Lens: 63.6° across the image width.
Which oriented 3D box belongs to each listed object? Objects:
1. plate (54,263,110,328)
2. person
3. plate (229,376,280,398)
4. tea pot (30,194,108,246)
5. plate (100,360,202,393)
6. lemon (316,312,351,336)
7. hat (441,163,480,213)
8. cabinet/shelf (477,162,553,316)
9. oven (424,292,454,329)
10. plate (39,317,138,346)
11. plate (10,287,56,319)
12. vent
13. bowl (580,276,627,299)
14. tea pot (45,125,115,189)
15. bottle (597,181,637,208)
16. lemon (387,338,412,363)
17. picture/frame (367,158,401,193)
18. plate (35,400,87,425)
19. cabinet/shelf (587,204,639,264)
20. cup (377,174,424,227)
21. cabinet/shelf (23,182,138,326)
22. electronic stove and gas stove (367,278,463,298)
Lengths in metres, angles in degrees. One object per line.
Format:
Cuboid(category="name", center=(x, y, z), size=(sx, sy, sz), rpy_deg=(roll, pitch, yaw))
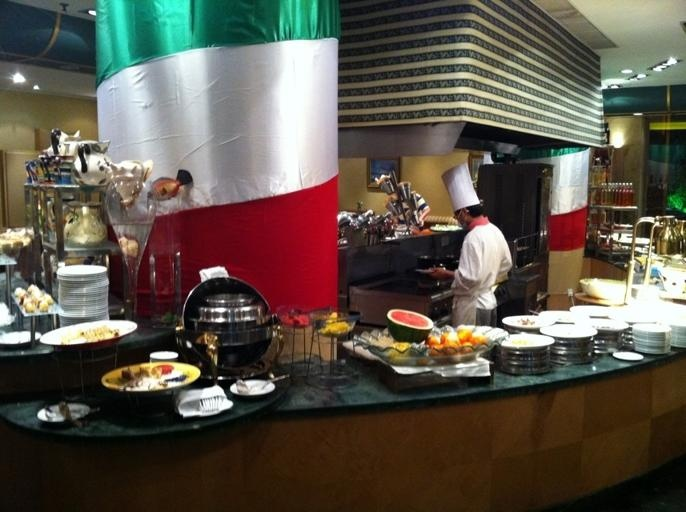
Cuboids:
Cuboid(category="plate", center=(-1.199, 0.148, 2.665), size=(0.256, 0.266, 0.262), rpy_deg=(11, 15, 33))
Cuboid(category="person", center=(1.014, -0.098, 4.486), size=(0.657, 1.351, 2.010), rpy_deg=(-1, 6, 16))
Cuboid(category="plate", center=(-0.409, 0.591, 2.519), size=(0.203, 0.057, 0.182), rpy_deg=(-3, 6, -9))
Cuboid(category="tea pot", center=(-1.333, -0.185, 2.719), size=(0.320, 0.239, 0.216), rpy_deg=(-3, 8, -27))
Cuboid(category="plate", center=(-0.789, 0.524, 2.366), size=(0.359, 0.059, 0.369), rpy_deg=(-3, 5, -16))
Cuboid(category="lemon", center=(-0.034, 0.327, 2.634), size=(0.115, 0.056, 0.118), rpy_deg=(1, 1, -12))
Cuboid(category="hat", center=(1.134, -0.651, 4.908), size=(0.245, 0.375, 0.282), rpy_deg=(-10, 5, 23))
Cuboid(category="cabinet/shelf", center=(2.044, -0.118, 6.483), size=(0.686, 2.002, 1.086), rpy_deg=(10, 17, 40))
Cuboid(category="oven", center=(0.781, 0.424, 4.497), size=(0.210, 0.269, 0.405), rpy_deg=(0, 4, 19))
Cuboid(category="plate", center=(-1.129, 0.342, 2.461), size=(0.188, 0.035, 0.205), rpy_deg=(-6, 7, 7))
Cuboid(category="plate", center=(-1.439, 0.203, 2.596), size=(0.163, 0.129, 0.264), rpy_deg=(-6, 7, -31))
Cuboid(category="vent", center=(2.101, -1.312, 6.460), size=(0.748, 0.220, 2.794), rpy_deg=(2, 7, 33))
Cuboid(category="bowl", center=(2.054, 0.253, 4.386), size=(0.310, 0.140, 0.380), rpy_deg=(1, 7, 29))
Cuboid(category="tea pot", center=(-1.231, -0.468, 2.765), size=(0.300, 0.333, 0.341), rpy_deg=(9, 4, 40))
Cuboid(category="bottle", center=(3.459, -0.793, 7.097), size=(0.402, 0.297, 0.477), rpy_deg=(0, 6, 21))
Cuboid(category="lemon", center=(0.268, 0.452, 2.638), size=(0.112, 0.083, 0.146), rpy_deg=(-2, 6, 7))
Cuboid(category="picture/frame", center=(0.656, -1.333, 8.722), size=(0.568, 0.461, 0.023), rpy_deg=(-1, -6, -10))
Cuboid(category="plate", center=(-1.171, 0.651, 2.344), size=(0.192, 0.068, 0.169), rpy_deg=(2, 7, 34))
Cuboid(category="cabinet/shelf", center=(3.631, -0.373, 7.607), size=(0.571, 0.700, 2.284), rpy_deg=(0, 6, 25))
Cuboid(category="cup", center=(0.610, -0.577, 5.752), size=(0.564, 0.563, 0.285), rpy_deg=(-6, 7, -38))
Cuboid(category="cabinet/shelf", center=(-1.424, -0.059, 2.941), size=(0.665, 0.651, 0.370), rpy_deg=(15, 18, 42))
Cuboid(category="electronic stove and gas stove", center=(0.549, 0.272, 4.590), size=(0.625, 0.137, 0.651), rpy_deg=(0, 6, 25))
